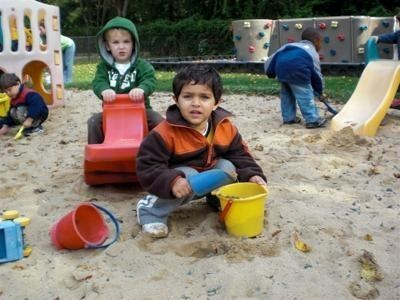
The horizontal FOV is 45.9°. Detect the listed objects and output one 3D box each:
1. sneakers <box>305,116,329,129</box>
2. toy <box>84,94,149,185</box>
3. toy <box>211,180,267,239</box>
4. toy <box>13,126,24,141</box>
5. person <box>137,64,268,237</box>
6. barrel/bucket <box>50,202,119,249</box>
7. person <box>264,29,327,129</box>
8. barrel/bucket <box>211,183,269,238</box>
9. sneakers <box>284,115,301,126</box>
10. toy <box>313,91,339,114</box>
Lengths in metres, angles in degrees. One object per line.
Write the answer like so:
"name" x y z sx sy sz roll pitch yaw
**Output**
"sneakers" 1.590 -0.382 6.491 0.303 0.142 0.114 -18 17 -30
"toy" -0.822 -0.133 4.321 0.397 0.662 0.657 12 14 8
"toy" 0.260 0.437 3.641 0.404 0.284 0.384 1 10 31
"toy" -2.353 -0.203 6.126 0.061 0.212 0.055 23 3 22
"person" -0.048 -0.039 3.796 0.999 1.271 0.856 -7 13 -26
"barrel/bucket" -0.844 0.593 3.588 0.333 0.387 0.403 -26 -6 37
"person" 1.406 -1.015 6.675 0.683 1.319 0.991 -4 18 -15
"barrel/bucket" 0.310 0.478 3.685 0.388 0.330 0.436 -9 12 -23
"sneakers" 1.316 -0.430 6.813 0.284 0.124 0.105 -10 20 -32
"toy" 1.960 -0.730 7.421 0.136 0.579 0.105 -27 15 43
